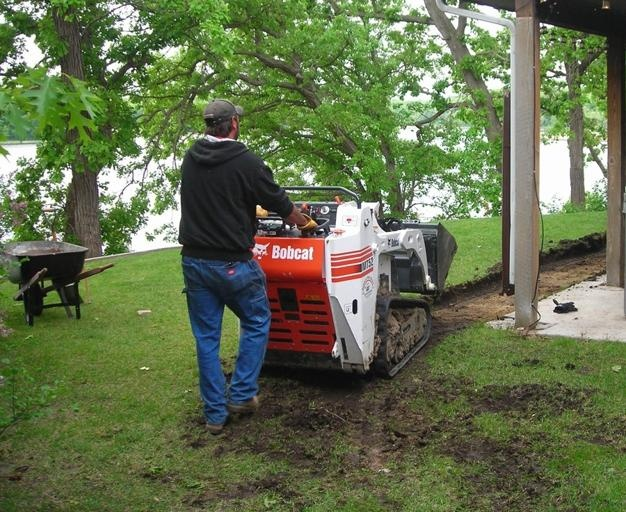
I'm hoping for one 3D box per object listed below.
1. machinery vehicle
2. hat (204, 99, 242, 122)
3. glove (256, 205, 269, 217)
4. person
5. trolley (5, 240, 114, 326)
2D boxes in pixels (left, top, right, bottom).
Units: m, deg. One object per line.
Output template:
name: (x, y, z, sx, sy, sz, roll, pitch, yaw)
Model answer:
machinery vehicle: (0.579, 0.180, 6.210, 1.254, 1.422, 2.754, 2, 8, 26)
hat: (-0.764, -1.235, 4.828, 0.206, 0.148, 0.285, 19, 26, 40)
glove: (-0.513, -0.466, 5.563, 0.047, 0.123, 0.129, 29, -23, -23)
person: (-0.648, 0.216, 4.830, 0.860, 2.455, 0.479, -7, 13, -15)
trolley: (-4.100, 0.272, 8.589, 1.015, 1.088, 2.233, -4, 11, -34)
